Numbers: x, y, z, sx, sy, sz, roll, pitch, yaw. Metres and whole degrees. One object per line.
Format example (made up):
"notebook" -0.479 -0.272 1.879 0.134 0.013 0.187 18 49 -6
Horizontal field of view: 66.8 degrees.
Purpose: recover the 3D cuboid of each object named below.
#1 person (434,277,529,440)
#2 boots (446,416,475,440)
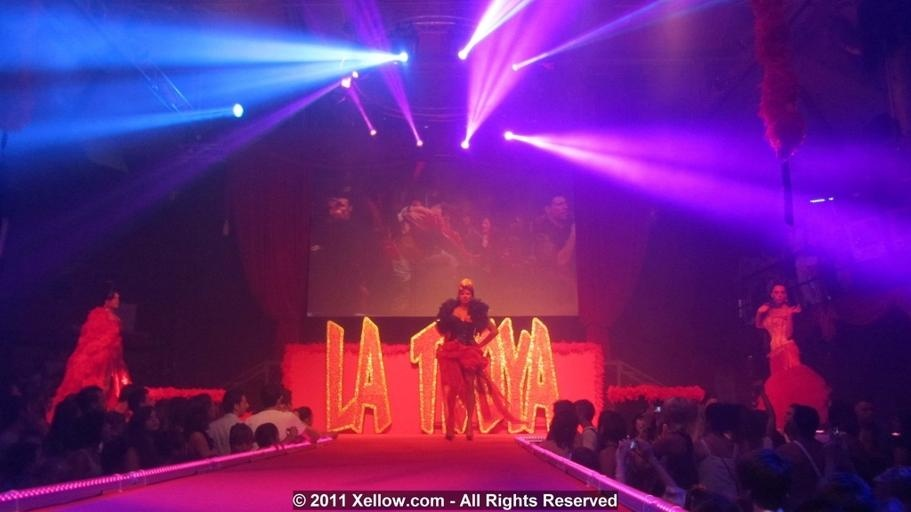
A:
"person" 0.270 2.020 13.664 0.925 3.063 1.404 -10 -15 40
"boots" 0.092 3.315 13.126 0.565 0.333 0.454 0 -4 5
